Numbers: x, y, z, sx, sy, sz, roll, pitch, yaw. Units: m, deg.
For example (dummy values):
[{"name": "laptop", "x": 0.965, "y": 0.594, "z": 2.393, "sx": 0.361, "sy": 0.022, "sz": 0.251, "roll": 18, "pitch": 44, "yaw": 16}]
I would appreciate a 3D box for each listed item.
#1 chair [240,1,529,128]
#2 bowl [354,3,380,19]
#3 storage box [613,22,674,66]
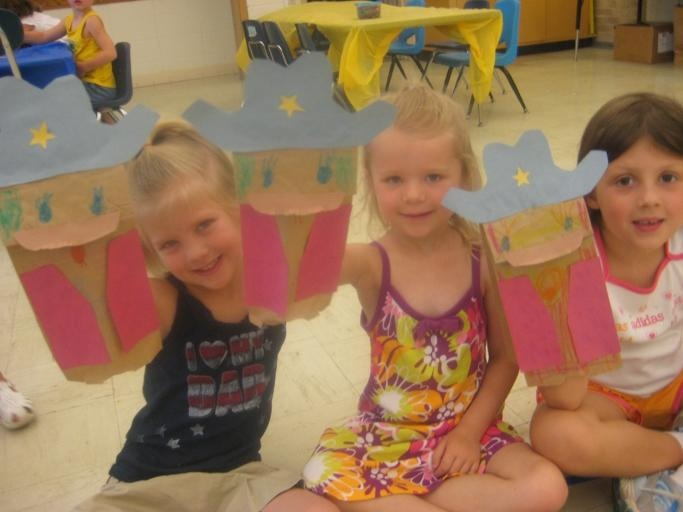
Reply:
[{"name": "chair", "x": 0.311, "y": -1.572, "z": 4.329, "sx": 1.423, "sy": 0.683, "sz": 1.880, "roll": -15, "pitch": 29, "yaw": -26}, {"name": "bowl", "x": 0.196, "y": -1.715, "z": 4.269, "sx": 0.153, "sy": 0.077, "sz": 0.130, "roll": -9, "pitch": 32, "yaw": -8}, {"name": "storage box", "x": 3.009, "y": -2.179, "z": 6.124, "sx": 0.453, "sy": 0.367, "sz": 0.454, "roll": 13, "pitch": 28, "yaw": 37}]
